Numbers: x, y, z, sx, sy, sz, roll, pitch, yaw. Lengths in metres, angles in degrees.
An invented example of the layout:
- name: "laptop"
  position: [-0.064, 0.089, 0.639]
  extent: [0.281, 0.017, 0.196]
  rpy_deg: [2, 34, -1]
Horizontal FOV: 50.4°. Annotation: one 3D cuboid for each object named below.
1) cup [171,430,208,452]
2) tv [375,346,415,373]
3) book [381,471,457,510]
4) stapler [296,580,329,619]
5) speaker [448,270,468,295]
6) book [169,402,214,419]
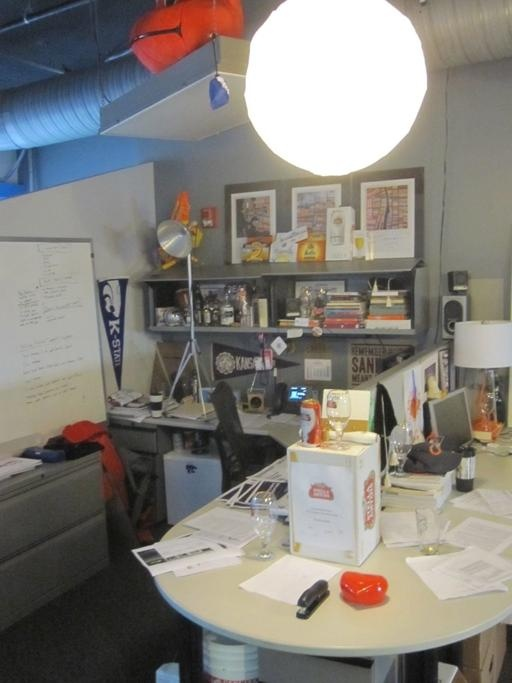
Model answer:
- name: "cup"
  position: [-0.484, 0.698, 3.956]
  extent: [0.231, 0.227, 0.131]
  rpy_deg: [0, 3, -2]
- name: "tv"
  position: [0.960, 0.130, 3.761]
  extent: [0.265, 0.192, 0.187]
  rpy_deg: [-2, 3, 15]
- name: "book"
  position: [0.602, 0.537, 2.012]
  extent: [0.184, 0.059, 0.142]
  rpy_deg: [0, -1, 4]
- name: "stapler"
  position: [0.144, 0.636, 1.349]
  extent: [0.033, 0.042, 0.126]
  rpy_deg: [-4, -3, 26]
- name: "speaker"
  position: [1.313, -0.378, 3.540]
  extent: [0.132, 0.153, 0.139]
  rpy_deg: [-1, 3, 20]
- name: "book"
  position: [-0.460, 0.492, 3.905]
  extent: [0.178, 0.053, 0.187]
  rpy_deg: [-1, 5, 12]
